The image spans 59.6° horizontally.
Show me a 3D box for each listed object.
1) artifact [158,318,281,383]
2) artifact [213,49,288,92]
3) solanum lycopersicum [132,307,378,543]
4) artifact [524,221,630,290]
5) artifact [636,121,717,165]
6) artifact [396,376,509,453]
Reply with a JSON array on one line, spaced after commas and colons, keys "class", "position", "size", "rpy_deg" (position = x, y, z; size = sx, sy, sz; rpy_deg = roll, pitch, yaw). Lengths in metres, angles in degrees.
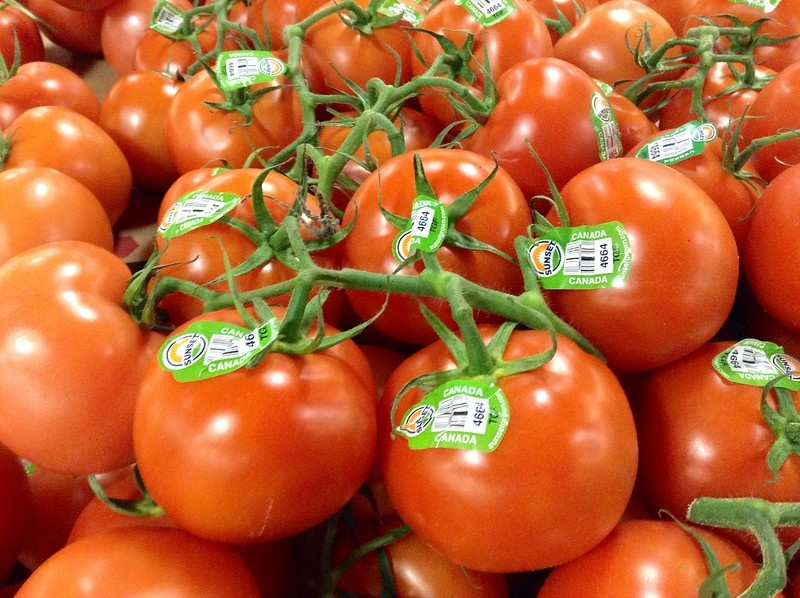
[{"class": "artifact", "position": [-0.234, 0.039, 0.883], "size": [0.117, 0.030, 0.095], "rpy_deg": [-20, 41, -20]}, {"class": "artifact", "position": [-0.277, -0.461, 1.342], "size": [0.103, 0.155, 0.037], "rpy_deg": [4, 83, 13]}, {"class": "solanum lycopersicum", "position": [-0.178, 0.174, 1.019], "size": [0.291, 0.278, 0.298], "rpy_deg": [13, 100, 0]}, {"class": "artifact", "position": [0.256, -0.064, 0.999], "size": [0.143, 0.053, 0.096], "rpy_deg": [9, 58, 7]}, {"class": "artifact", "position": [0.459, -0.260, 1.172], "size": [0.122, 0.030, 0.080], "rpy_deg": [-19, 61, -1]}, {"class": "artifact", "position": [0.067, 0.145, 0.891], "size": [0.141, 0.053, 0.089], "rpy_deg": [7, 58, 6]}]
